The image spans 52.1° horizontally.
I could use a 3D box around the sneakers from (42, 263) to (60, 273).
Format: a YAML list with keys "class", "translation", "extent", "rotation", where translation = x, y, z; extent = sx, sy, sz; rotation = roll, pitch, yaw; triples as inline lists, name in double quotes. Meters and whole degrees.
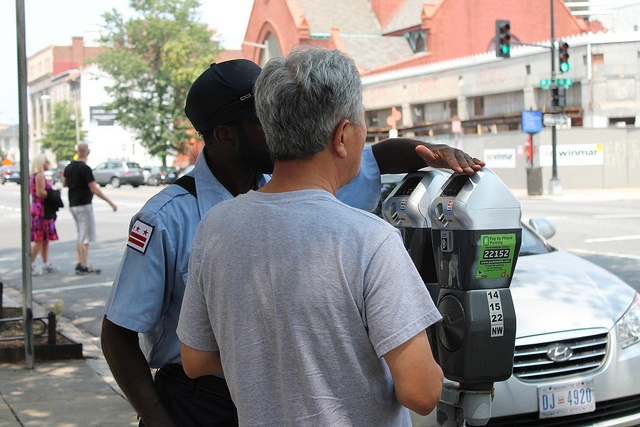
- class: "sneakers"
  translation: [-4.583, 0.947, 11.280]
  extent: [0.337, 0.227, 0.127]
  rotation: [2, 16, -18]

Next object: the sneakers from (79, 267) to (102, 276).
- class: "sneakers"
  translation: [-3.902, 0.972, 11.110]
  extent: [0.362, 0.170, 0.145]
  rotation: [-1, 3, -21]

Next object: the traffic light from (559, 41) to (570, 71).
- class: "traffic light"
  translation: [7.872, -5.060, 21.177]
  extent: [0.265, 1.037, 1.665]
  rotation: [1, 7, 19]

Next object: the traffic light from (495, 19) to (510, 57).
- class: "traffic light"
  translation: [5.071, -4.906, 18.223]
  extent: [0.351, 1.018, 0.979]
  rotation: [0, 7, 15]

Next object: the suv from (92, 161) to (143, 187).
- class: "suv"
  translation: [-12.013, -2.094, 38.846]
  extent: [3.724, 1.509, 1.725]
  rotation: [7, 5, 39]

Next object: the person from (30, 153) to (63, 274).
- class: "person"
  translation: [-4.538, 0.056, 10.816]
  extent: [0.496, 2.016, 1.102]
  rotation: [-4, 7, -24]
